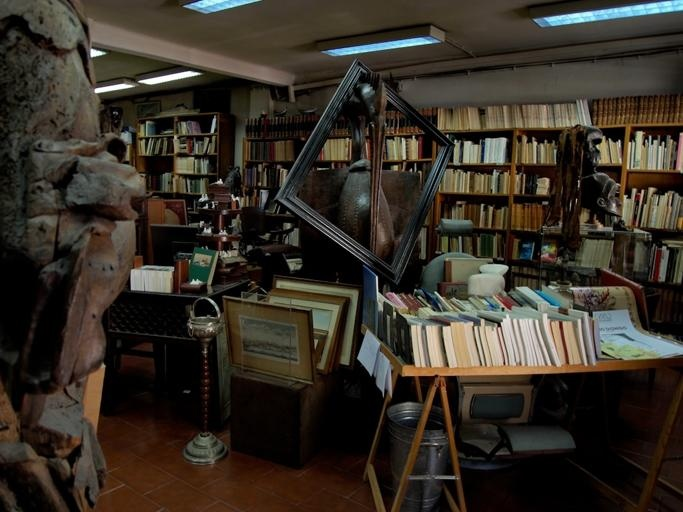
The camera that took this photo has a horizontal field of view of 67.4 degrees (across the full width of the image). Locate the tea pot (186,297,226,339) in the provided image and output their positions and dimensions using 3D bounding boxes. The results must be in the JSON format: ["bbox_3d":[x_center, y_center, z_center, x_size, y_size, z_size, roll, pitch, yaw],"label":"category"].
[{"bbox_3d":[-0.903,0.379,3.446,0.213,0.275,0.697,-1,9,-14],"label":"tea pot"}]
